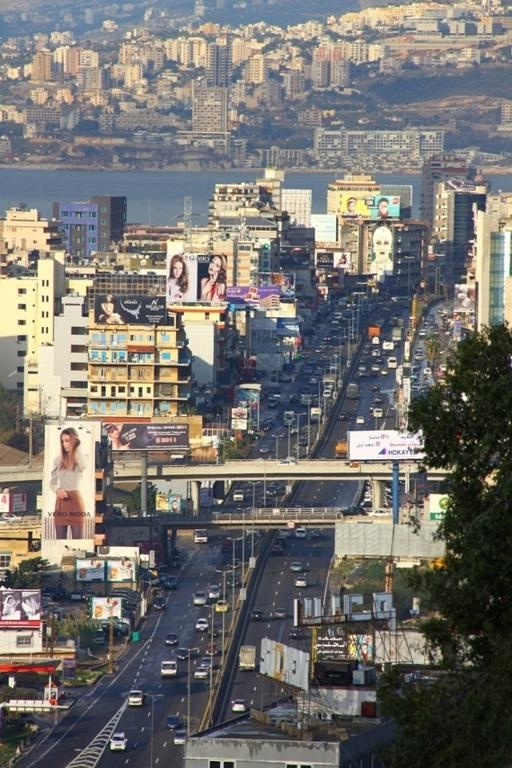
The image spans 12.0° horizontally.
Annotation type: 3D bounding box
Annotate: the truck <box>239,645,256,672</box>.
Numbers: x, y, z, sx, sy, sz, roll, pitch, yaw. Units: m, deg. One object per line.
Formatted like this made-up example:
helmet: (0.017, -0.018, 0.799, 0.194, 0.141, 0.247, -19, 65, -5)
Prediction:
truck: (-0.335, 12.892, 117.121, 0.832, 1.184, 1.360, 1, 3, -1)
